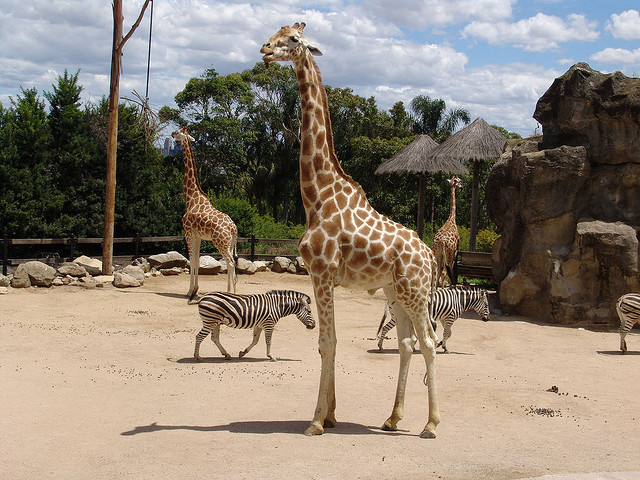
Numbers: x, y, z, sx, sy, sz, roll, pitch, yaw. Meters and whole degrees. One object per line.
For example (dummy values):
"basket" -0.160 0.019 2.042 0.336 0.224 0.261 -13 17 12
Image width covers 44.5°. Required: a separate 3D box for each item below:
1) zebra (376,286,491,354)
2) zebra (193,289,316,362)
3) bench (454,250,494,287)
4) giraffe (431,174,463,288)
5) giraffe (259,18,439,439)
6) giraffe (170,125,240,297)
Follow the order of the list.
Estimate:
"zebra" 2.510 1.619 16.822 2.306 1.707 0.608 8 24 -9
"zebra" -1.255 1.674 15.488 2.371 1.677 0.669 4 13 -12
"bench" 4.790 0.894 23.673 1.580 1.158 0.629 4 -2 41
"giraffe" 4.428 -0.434 27.577 0.990 4.652 0.909 4 7 14
"giraffe" 0.687 -0.116 13.383 2.201 7.478 3.366 -1 7 9
"giraffe" -3.097 -0.650 20.922 1.385 4.587 2.307 -5 12 -27
